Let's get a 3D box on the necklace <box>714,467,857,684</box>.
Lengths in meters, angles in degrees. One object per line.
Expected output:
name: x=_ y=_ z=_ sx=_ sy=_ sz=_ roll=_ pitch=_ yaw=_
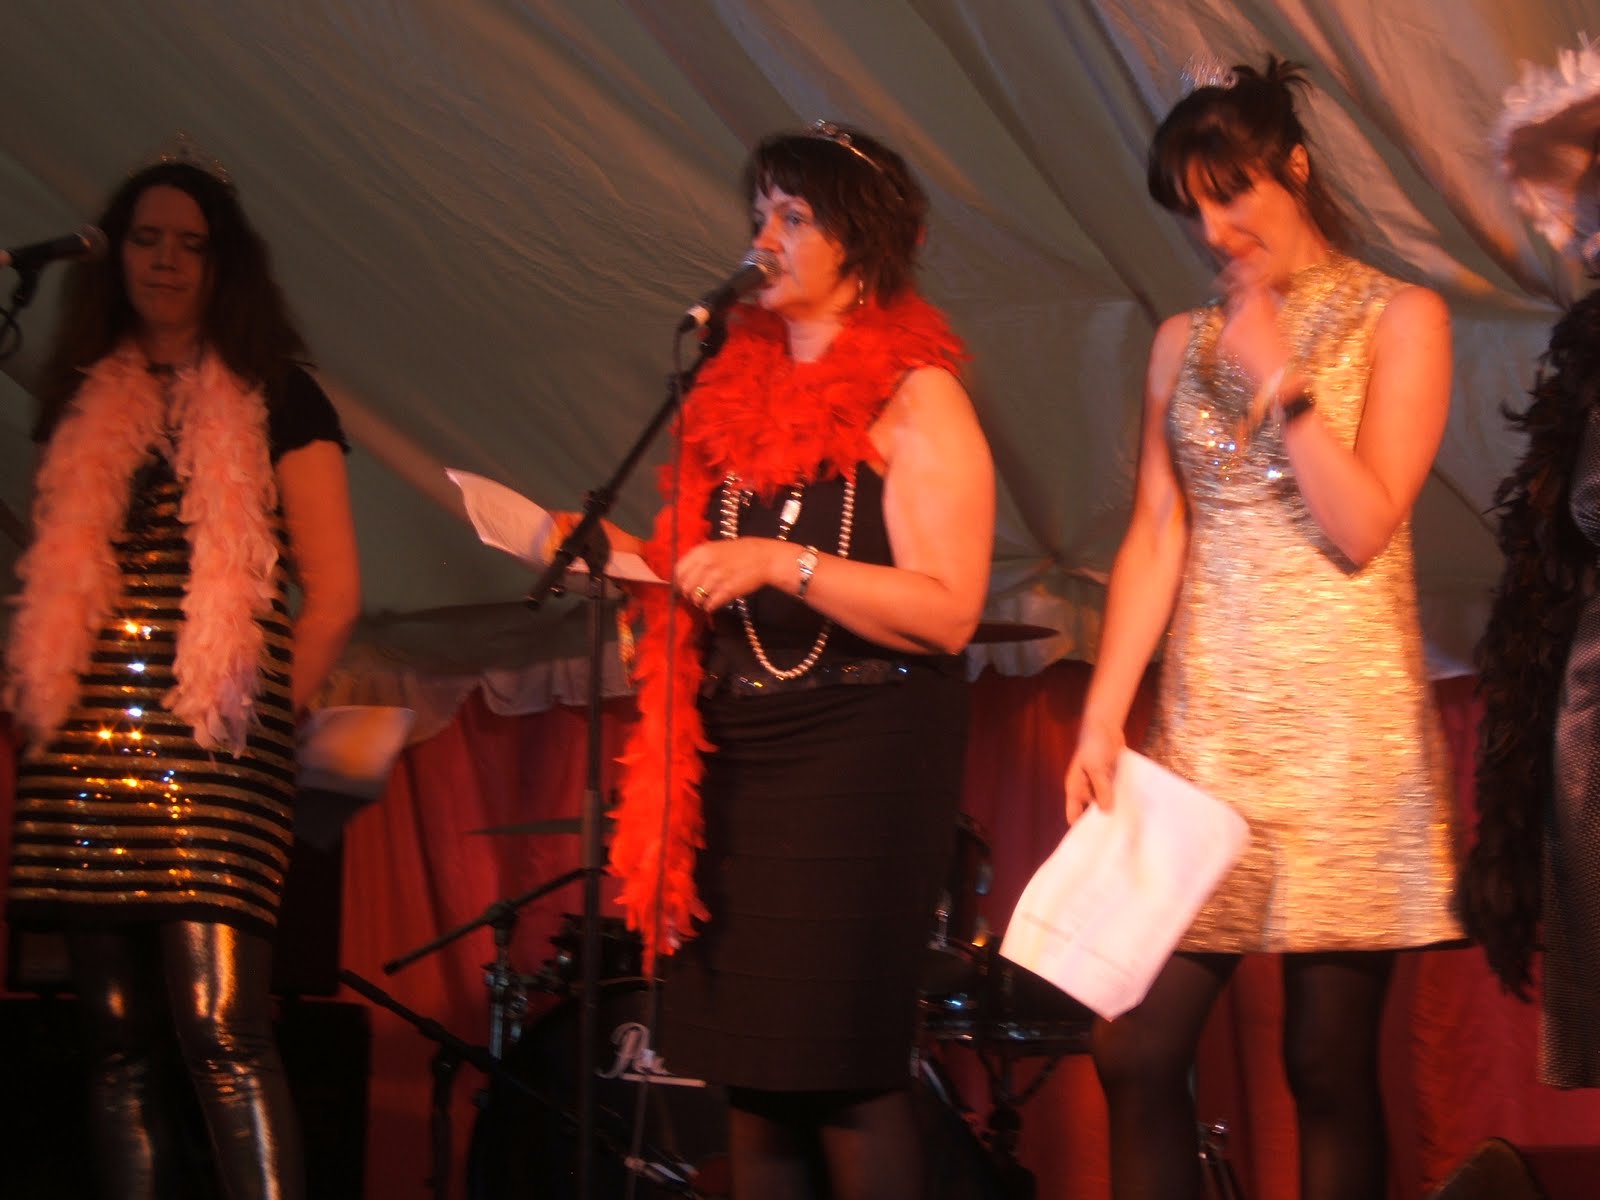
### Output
necklace: x=-0.035 y=-0.055 z=2.276 sx=0.183 sy=0.321 sz=0.058 roll=-1 pitch=-17 yaw=13

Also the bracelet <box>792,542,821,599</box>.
bracelet: x=0.009 y=-0.041 z=2.206 sx=0.041 sy=0.066 sz=0.059 roll=8 pitch=-54 yaw=10
